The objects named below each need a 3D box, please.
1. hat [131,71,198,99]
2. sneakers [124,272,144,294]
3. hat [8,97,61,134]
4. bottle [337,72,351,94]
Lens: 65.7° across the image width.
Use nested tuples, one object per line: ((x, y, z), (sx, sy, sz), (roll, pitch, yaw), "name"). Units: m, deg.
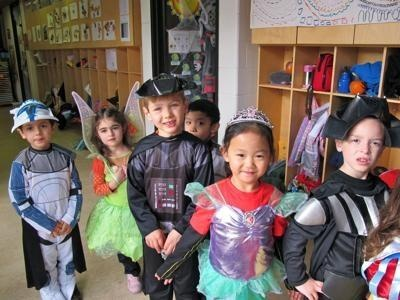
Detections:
((-0.168, -0.351, 1.669), (0.196, 0.117, 0.320), (8, 17, 35), "hat")
((-0.461, 0.937, 2.172), (0.067, 0.063, 0.158), (4, 29, -35), "sneakers")
((-1.038, -0.238, 1.934), (0.195, 0.133, 0.248), (-17, -8, -13), "hat")
((1.330, -0.632, 2.874), (0.113, 0.197, 0.111), (-2, 14, 1), "bottle")
